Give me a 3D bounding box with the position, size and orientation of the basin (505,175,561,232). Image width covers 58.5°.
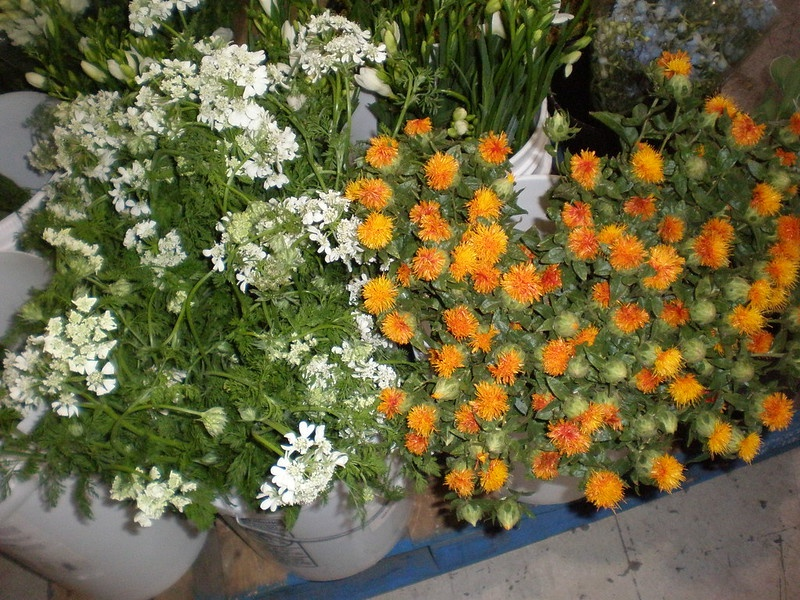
[{"bbox_3d":[0.273,-0.208,1.462,0.108,0.126,0.123,7,77,11],"label":"basin"}]
